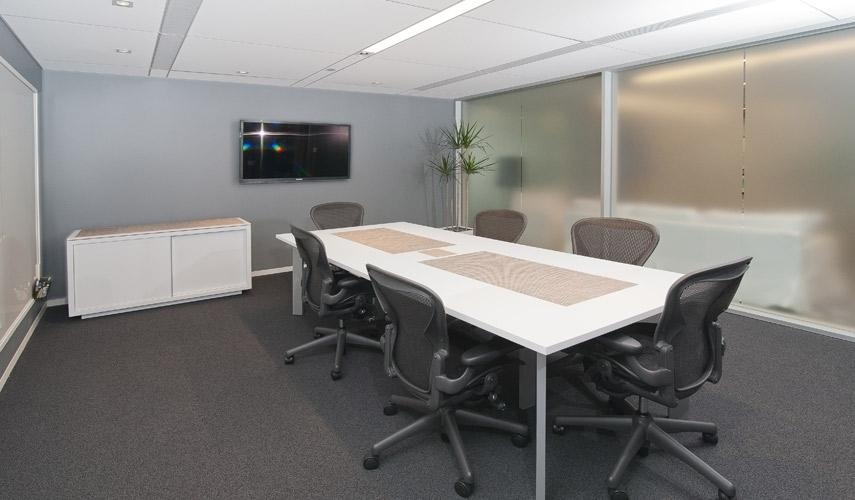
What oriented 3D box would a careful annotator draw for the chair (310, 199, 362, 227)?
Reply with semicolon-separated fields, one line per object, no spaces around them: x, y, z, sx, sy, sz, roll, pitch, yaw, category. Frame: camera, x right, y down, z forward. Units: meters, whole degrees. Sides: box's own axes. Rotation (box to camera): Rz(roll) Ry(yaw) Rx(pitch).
-1.245;-0.512;7.225;0.455;0.596;0.462;-3;5;-26;chair

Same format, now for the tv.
-2.007;-1.542;8.269;1.973;0.923;0.083;-9;20;-43;tv

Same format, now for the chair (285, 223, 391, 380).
-0.934;0.472;5.705;1.229;1.334;1.186;0;7;-24;chair

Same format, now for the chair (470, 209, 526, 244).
0.942;-0.311;6.554;0.503;0.610;0.485;3;5;35;chair
